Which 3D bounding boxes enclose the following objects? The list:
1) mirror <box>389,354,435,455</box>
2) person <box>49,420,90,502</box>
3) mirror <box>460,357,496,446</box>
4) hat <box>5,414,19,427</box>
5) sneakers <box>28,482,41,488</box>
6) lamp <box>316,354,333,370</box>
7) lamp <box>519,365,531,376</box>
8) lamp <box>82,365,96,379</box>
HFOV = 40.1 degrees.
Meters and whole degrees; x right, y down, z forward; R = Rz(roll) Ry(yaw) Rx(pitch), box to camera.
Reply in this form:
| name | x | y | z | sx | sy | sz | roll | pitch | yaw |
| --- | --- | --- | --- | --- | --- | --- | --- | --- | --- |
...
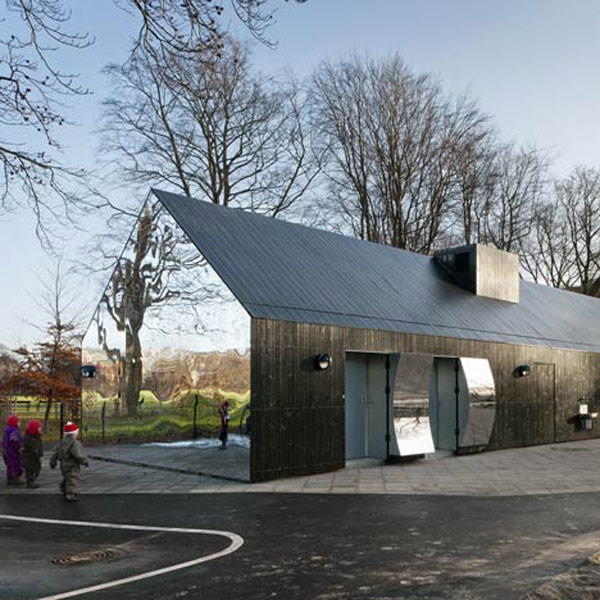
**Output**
| name | x | y | z | sx | sy | sz | roll | pitch | yaw |
| --- | --- | --- | --- | --- | --- | --- | --- | --- | --- |
| mirror | 2.268 | 2.097 | 16.777 | 0.455 | 1.850 | 1.273 | -5 | -2 | 40 |
| person | -3.548 | 2.465 | 12.589 | 0.535 | 0.802 | 0.675 | -3 | -2 | -18 |
| mirror | 4.184 | 2.332 | 18.705 | 0.252 | 1.807 | 0.928 | 3 | -6 | -22 |
| hat | -4.914 | 2.070 | 14.088 | 0.227 | 0.259 | 0.194 | 0 | 1 | 42 |
| sneakers | -4.406 | 3.021 | 13.550 | 0.116 | 0.087 | 0.125 | 6 | -1 | -5 |
| lamp | 0.433 | 1.123 | 15.157 | 0.246 | 0.303 | 0.263 | 0 | 3 | 7 |
| lamp | 5.688 | 1.771 | 20.835 | 0.226 | 0.376 | 0.451 | -2 | -2 | 22 |
| lamp | -4.940 | 1.670 | 19.142 | 0.364 | 0.433 | 0.282 | -1 | -2 | 38 |
